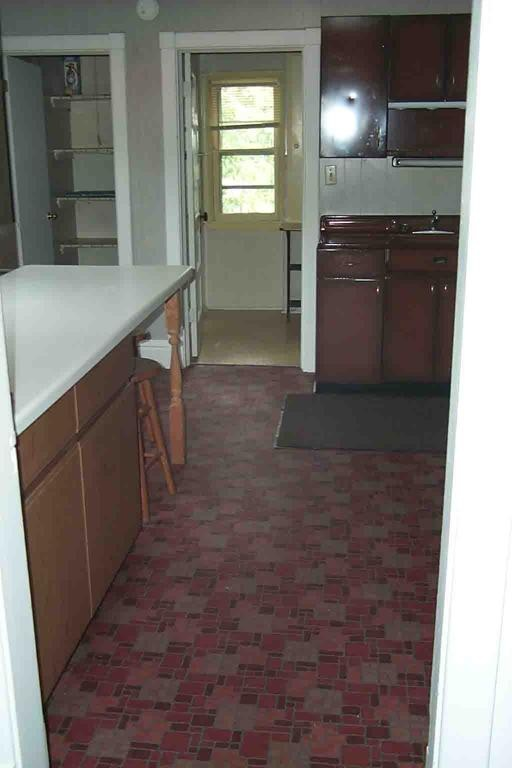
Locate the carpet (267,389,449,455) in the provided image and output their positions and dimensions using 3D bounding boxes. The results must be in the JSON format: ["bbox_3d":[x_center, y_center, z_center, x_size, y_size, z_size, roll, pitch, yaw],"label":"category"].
[{"bbox_3d":[0.702,0.219,3.608,1.106,0.056,0.999,1,16,6],"label":"carpet"}]

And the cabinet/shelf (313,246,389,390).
[{"bbox_3d":[0.688,-0.411,4.156,0.550,1.065,0.698,6,-16,-7],"label":"cabinet/shelf"}]

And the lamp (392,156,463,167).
[{"bbox_3d":[1.266,-1.641,4.195,0.512,0.080,0.116,-1,15,-2],"label":"lamp"}]

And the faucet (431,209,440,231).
[{"bbox_3d":[1.357,-1.241,4.291,0.054,0.143,0.117,3,15,15],"label":"faucet"}]

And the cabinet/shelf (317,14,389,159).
[{"bbox_3d":[0.743,-2.091,4.173,0.534,0.900,0.563,-4,14,-7],"label":"cabinet/shelf"}]
